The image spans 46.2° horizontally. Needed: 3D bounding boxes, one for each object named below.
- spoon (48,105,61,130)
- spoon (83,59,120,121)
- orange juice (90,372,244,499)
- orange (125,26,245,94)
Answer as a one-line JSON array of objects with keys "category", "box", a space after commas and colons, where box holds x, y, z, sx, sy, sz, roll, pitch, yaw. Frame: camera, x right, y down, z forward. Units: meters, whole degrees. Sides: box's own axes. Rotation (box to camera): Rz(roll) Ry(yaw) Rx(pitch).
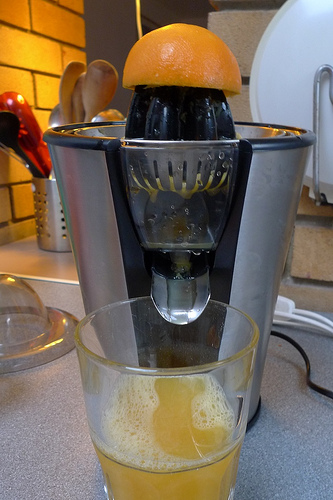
[{"category": "spoon", "box": [-0.226, -0.271, 0.792, 0.018, 0.041, 0.045, -11, 22, -29]}, {"category": "spoon", "box": [-0.120, -0.288, 0.712, 0.066, 0.099, 0.079, -4, 19, -11]}, {"category": "orange juice", "box": [0.001, 0.060, 0.192, 0.068, 0.060, 0.079, -1, 9, -1]}, {"category": "orange", "box": [0.008, -0.092, 0.188, 0.060, 0.029, 0.038, 1, 19, 2]}]
